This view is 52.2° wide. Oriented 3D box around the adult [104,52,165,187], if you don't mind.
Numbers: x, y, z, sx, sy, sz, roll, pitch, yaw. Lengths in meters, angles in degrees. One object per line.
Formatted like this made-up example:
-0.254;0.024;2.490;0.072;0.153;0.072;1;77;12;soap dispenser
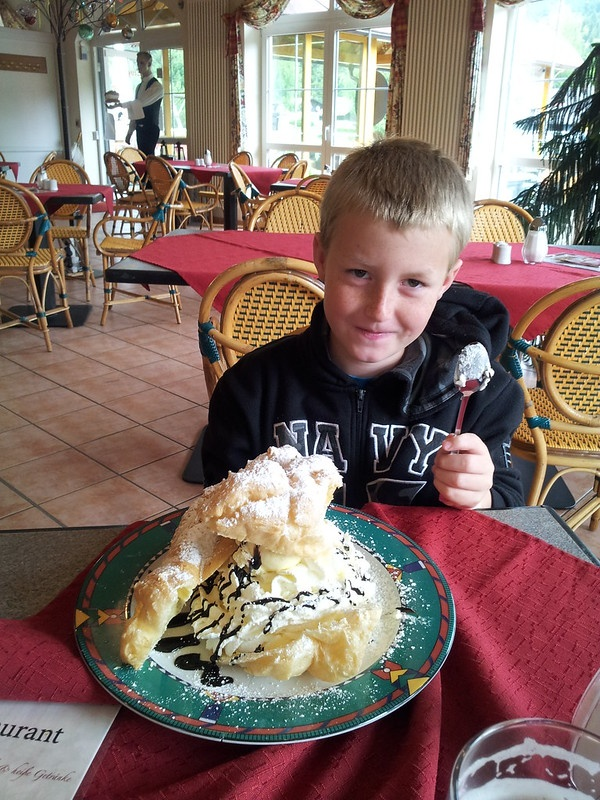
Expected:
-2.208;-3.811;8.267;0.664;1.737;0.586;8;54;-8;adult

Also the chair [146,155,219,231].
-1.112;-1.874;5.760;0.697;0.756;0.662;0;27;-12;chair

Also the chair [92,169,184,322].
-1.219;-1.112;4.486;0.740;0.970;0.728;-10;20;-31;chair

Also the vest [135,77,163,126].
-2.008;-3.906;7.999;0.370;0.586;0.239;6;22;14;vest
